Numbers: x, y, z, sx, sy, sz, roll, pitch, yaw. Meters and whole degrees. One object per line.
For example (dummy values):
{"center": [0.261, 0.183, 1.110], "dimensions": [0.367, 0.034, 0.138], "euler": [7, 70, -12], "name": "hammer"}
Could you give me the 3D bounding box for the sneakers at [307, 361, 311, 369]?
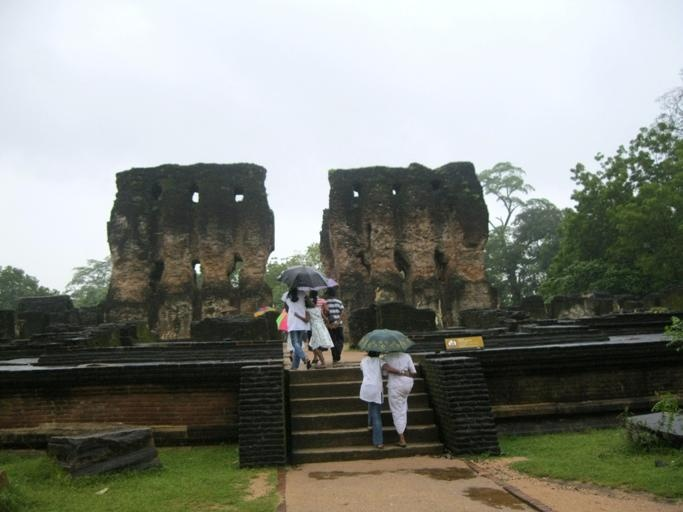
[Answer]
{"center": [-0.554, 1.830, 11.412], "dimensions": [0.051, 0.144, 0.059], "euler": [-3, -4, -8], "name": "sneakers"}
